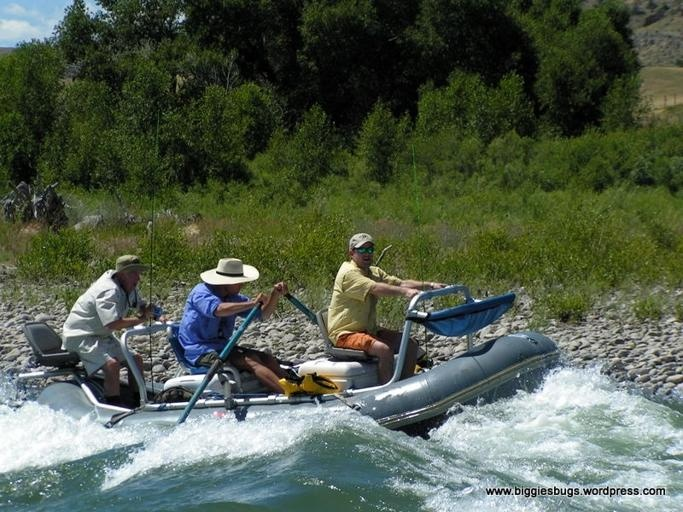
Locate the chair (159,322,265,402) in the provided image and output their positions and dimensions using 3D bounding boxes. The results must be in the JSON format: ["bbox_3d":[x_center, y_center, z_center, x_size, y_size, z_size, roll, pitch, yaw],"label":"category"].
[{"bbox_3d":[-2.073,1.793,13.285,1.427,1.629,1.097,5,-4,28],"label":"chair"}]

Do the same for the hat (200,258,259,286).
[{"bbox_3d":[-1.800,0.251,13.051,0.538,0.231,0.545,5,14,4],"label":"hat"}]

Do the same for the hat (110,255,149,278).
[{"bbox_3d":[-3.458,0.136,13.302,0.340,0.209,0.360,12,-7,-15],"label":"hat"}]

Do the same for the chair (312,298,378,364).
[{"bbox_3d":[0.102,1.215,13.173,0.741,0.746,0.529,4,-7,23],"label":"chair"}]

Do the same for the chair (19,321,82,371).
[{"bbox_3d":[-4.690,1.350,13.191,0.706,0.709,0.532,-6,8,27],"label":"chair"}]

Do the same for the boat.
[{"bbox_3d":[-0.700,1.896,13.560,6.578,2.821,3.523,-2,0,11],"label":"boat"}]

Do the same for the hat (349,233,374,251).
[{"bbox_3d":[0.272,-0.255,13.136,0.240,0.188,0.347,1,-9,-20],"label":"hat"}]
